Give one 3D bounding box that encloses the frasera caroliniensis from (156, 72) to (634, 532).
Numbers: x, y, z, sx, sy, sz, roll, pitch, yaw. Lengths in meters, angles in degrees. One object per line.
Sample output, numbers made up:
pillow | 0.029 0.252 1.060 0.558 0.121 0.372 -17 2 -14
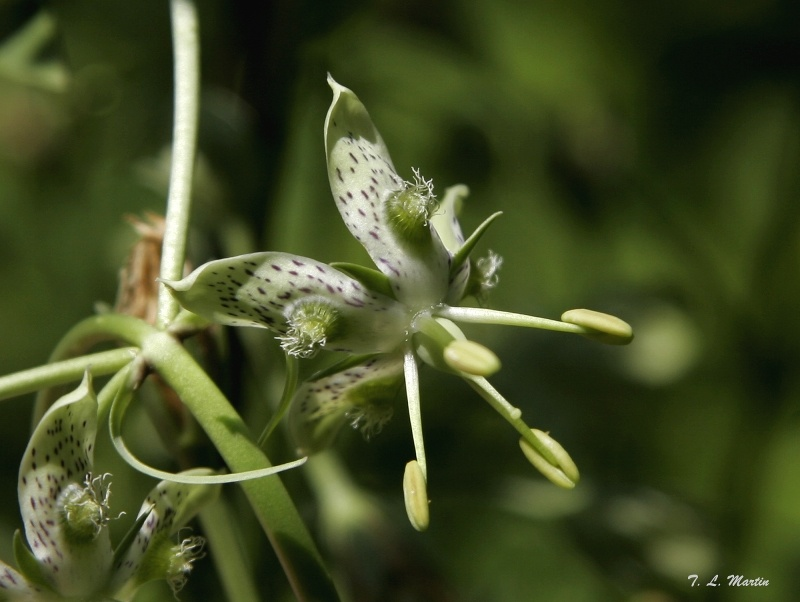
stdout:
frasera caroliniensis | -0.001 -0.045 1.663 0.752 0.767 0.329 29 7 -7
